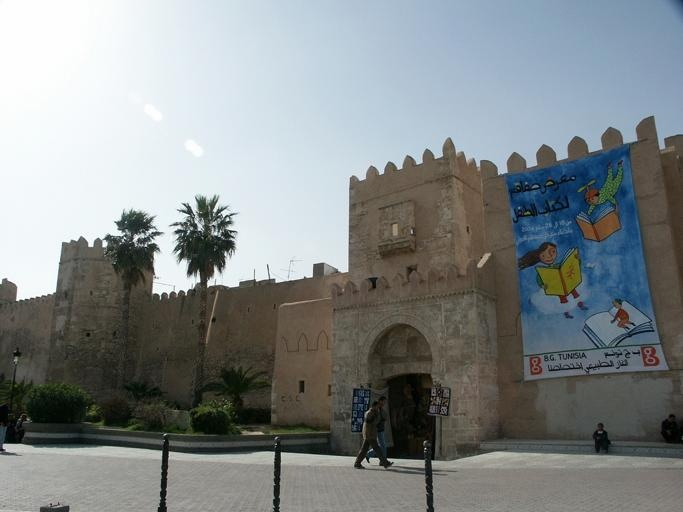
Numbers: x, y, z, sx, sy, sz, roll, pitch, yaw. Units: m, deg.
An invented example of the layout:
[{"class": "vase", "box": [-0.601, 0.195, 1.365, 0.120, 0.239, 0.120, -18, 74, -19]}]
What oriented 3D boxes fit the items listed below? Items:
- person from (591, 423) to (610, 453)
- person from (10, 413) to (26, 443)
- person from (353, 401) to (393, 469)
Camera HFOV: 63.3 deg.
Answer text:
[{"class": "person", "box": [7.157, 5.016, 15.195, 0.388, 0.745, 0.498, -8, -18, 23]}, {"class": "person", "box": [-11.193, 6.017, 19.109, 0.408, 0.859, 1.521, 8, -20, -28]}, {"class": "person", "box": [0.668, 4.220, 13.006, 0.781, 1.505, 0.942, -5, -17, 12]}]
